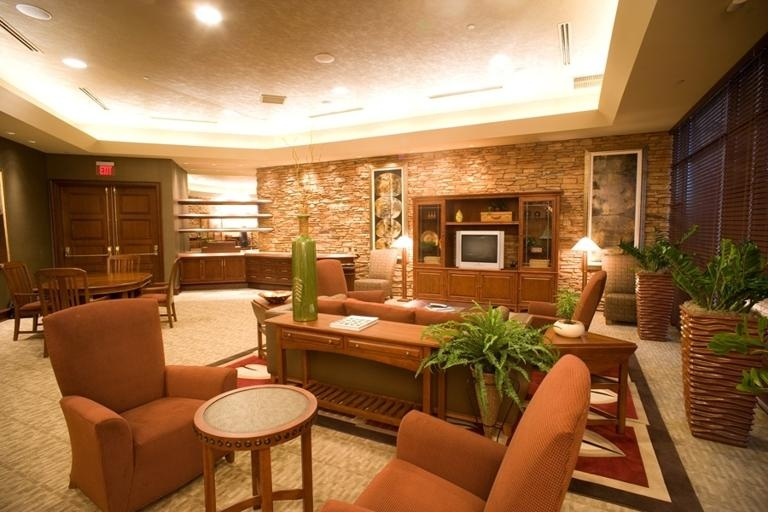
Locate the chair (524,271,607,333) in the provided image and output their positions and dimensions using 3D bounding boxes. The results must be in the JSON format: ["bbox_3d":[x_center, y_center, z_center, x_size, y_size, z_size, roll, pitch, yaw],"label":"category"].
[{"bbox_3d":[2.130,0.687,5.662,0.924,0.947,0.737,3,1,15],"label":"chair"}]

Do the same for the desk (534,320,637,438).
[{"bbox_3d":[2.168,1.327,5.253,1.055,1.220,1.344,1,3,23],"label":"desk"}]

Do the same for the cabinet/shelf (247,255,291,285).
[{"bbox_3d":[-2.748,0.346,11.231,1.432,0.752,0.332,2,4,36],"label":"cabinet/shelf"}]

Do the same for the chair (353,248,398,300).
[{"bbox_3d":[-0.159,0.394,9.800,0.725,0.935,0.862,4,11,26],"label":"chair"}]

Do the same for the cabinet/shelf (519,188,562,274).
[{"bbox_3d":[2.899,-0.405,8.734,0.763,1.524,0.398,5,18,35],"label":"cabinet/shelf"}]

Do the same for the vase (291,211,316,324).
[{"bbox_3d":[-0.877,0.134,5.093,0.270,1.153,0.254,0,4,-6],"label":"vase"}]

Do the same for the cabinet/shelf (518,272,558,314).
[{"bbox_3d":[2.773,0.678,8.706,0.729,0.717,0.439,3,-6,5],"label":"cabinet/shelf"}]

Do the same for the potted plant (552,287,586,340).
[{"bbox_3d":[2.456,0.752,6.406,0.407,0.542,0.370,0,0,15],"label":"potted plant"}]

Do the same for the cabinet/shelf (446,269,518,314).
[{"bbox_3d":[1.944,0.669,9.127,1.480,0.761,0.506,1,3,35],"label":"cabinet/shelf"}]

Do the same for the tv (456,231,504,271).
[{"bbox_3d":[1.970,-0.109,9.159,1.034,0.781,0.543,2,4,38],"label":"tv"}]

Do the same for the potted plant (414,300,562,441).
[{"bbox_3d":[1.018,1.117,4.457,1.284,1.003,1.309,2,-13,-10],"label":"potted plant"}]

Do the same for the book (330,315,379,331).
[{"bbox_3d":[-0.323,0.714,5.050,0.383,0.104,0.483,2,3,36],"label":"book"}]

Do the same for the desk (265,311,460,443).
[{"bbox_3d":[-0.284,1.299,5.121,1.905,1.045,0.637,3,3,27],"label":"desk"}]

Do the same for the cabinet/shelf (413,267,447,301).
[{"bbox_3d":[0.925,0.558,9.333,0.693,0.583,0.282,1,1,28],"label":"cabinet/shelf"}]

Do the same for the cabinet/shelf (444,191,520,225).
[{"bbox_3d":[1.897,-0.894,9.151,1.361,0.547,0.580,1,3,20],"label":"cabinet/shelf"}]

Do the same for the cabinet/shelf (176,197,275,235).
[{"bbox_3d":[-3.931,-0.951,11.711,2.290,0.697,0.553,-1,5,-15],"label":"cabinet/shelf"}]

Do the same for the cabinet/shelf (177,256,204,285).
[{"bbox_3d":[-4.542,0.313,10.934,0.681,0.749,0.423,1,10,-9],"label":"cabinet/shelf"}]
